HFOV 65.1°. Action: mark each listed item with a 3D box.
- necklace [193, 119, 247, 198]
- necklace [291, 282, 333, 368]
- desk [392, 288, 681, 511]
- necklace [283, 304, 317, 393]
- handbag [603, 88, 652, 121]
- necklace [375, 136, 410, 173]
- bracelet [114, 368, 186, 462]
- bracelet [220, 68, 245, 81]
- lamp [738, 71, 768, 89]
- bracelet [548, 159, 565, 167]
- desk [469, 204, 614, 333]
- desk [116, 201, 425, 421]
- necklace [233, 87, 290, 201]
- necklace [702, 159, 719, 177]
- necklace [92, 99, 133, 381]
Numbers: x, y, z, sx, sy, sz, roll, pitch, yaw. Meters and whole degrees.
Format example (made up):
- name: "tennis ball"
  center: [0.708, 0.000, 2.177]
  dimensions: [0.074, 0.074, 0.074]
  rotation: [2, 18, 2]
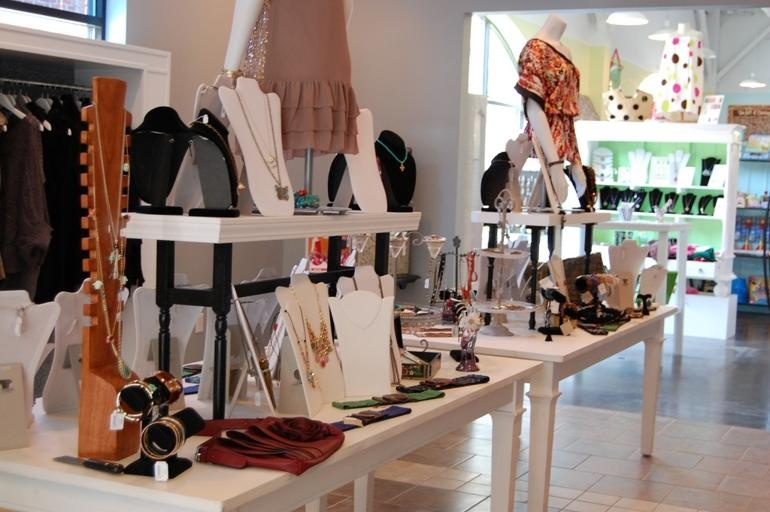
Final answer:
- name: "necklace"
  center: [-0.587, -0.331, 2.152]
  dimensions: [0.162, 0.296, 0.236]
  rotation: [-9, 6, -11]
- name: "necklace"
  center: [-0.263, 0.252, 2.323]
  dimensions: [0.083, 0.294, 0.189]
  rotation: [-2, 14, 38]
- name: "desk"
  center: [0.862, 0.641, 3.583]
  dimensions: [1.102, 0.918, 1.809]
  rotation: [1, 3, 30]
- name: "necklace"
  center: [-0.303, 0.347, 2.216]
  dimensions: [0.053, 0.336, 0.102]
  rotation: [-12, 5, 40]
- name: "handbag"
  center: [3.255, -2.049, 8.134]
  dimensions: [0.594, 0.426, 0.336]
  rotation: [4, 7, 23]
- name: "necklace"
  center: [0.032, -0.485, 2.896]
  dimensions: [0.160, 0.153, 0.102]
  rotation: [2, 6, -1]
- name: "bracelet"
  center: [-0.688, 0.421, 1.731]
  dimensions: [0.163, 0.164, 0.126]
  rotation: [4, 7, 17]
- name: "bracelet"
  center: [-0.589, -0.703, 2.336]
  dimensions: [0.098, 0.038, 0.104]
  rotation: [0, 8, -11]
- name: "lamp"
  center: [7.039, -3.332, 11.557]
  dimensions: [0.542, 0.245, 0.539]
  rotation: [-1, 6, 3]
- name: "bracelet"
  center: [1.013, -0.546, 3.538]
  dimensions: [0.063, 0.042, 0.183]
  rotation: [6, 8, 35]
- name: "desk"
  center: [0.881, 0.036, 3.885]
  dimensions: [0.912, 0.752, 0.583]
  rotation: [0, 12, -24]
- name: "desk"
  center: [-0.401, 0.164, 2.716]
  dimensions: [0.507, 0.710, 1.565]
  rotation: [6, 6, 22]
- name: "necklace"
  center: [-0.462, -0.415, 2.280]
  dimensions: [0.165, 0.454, 0.067]
  rotation: [-10, 0, -32]
- name: "necklace"
  center: [4.838, -1.345, 9.042]
  dimensions: [0.246, 0.252, 0.083]
  rotation: [8, -7, 27]
- name: "necklace"
  center: [-0.817, -0.056, 1.797]
  dimensions: [0.103, 0.827, 0.174]
  rotation: [-2, 7, -27]
